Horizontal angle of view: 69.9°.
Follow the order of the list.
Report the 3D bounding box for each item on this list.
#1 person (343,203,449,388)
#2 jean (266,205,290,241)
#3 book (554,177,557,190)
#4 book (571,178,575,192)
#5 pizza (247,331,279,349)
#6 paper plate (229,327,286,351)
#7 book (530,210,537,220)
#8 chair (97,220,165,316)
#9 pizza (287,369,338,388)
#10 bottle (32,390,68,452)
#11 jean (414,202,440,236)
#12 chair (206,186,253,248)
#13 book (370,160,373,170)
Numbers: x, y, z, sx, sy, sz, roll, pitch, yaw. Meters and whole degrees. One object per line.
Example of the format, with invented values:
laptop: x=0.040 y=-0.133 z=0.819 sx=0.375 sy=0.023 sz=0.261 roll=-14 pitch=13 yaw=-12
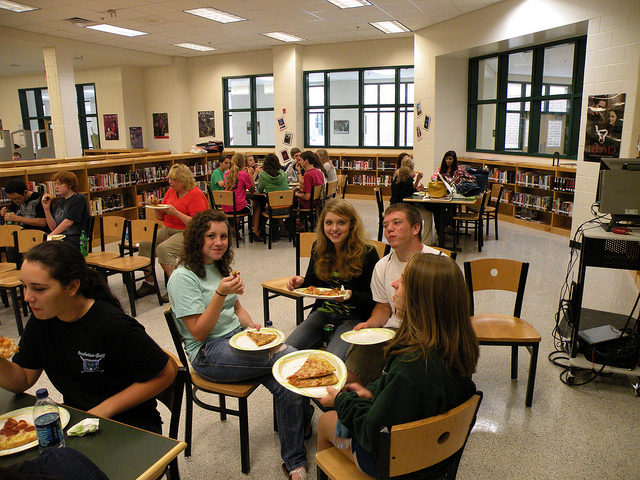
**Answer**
person: x=0.427 y=0.389 z=2.847 sx=0.805 sy=1.211 sz=0.561 roll=-2 pitch=1 yaw=-32
jean: x=-0.704 y=-0.272 z=7.522 sx=0.348 sy=0.597 sz=0.549 roll=-4 pitch=12 yaw=-14
book: x=3.844 y=-0.920 z=7.488 sx=0.029 sy=0.128 sz=0.127 roll=3 pitch=5 yaw=32
book: x=3.965 y=-0.860 z=7.206 sx=0.044 sy=0.199 sz=0.173 roll=4 pitch=13 yaw=25
pizza: x=-0.309 y=0.536 z=2.532 sx=0.147 sy=0.029 sz=0.176 roll=-9 pitch=14 yaw=-32
paper plate: x=-0.354 y=0.556 z=2.534 sx=0.292 sy=0.068 sz=0.256 roll=-12 pitch=16 yaw=-41
book: x=3.808 y=-0.451 z=8.181 sx=0.116 sy=0.163 sz=0.100 roll=5 pitch=13 yaw=27
chair: x=-1.969 y=0.278 z=4.719 sx=0.596 sy=0.929 sz=0.608 roll=-6 pitch=17 yaw=-33
pizza: x=-0.018 y=0.665 z=2.166 sx=0.148 sy=0.027 sz=0.085 roll=-4 pitch=7 yaw=-26
bottle: x=-1.031 y=0.732 z=1.809 sx=0.105 sy=0.262 sz=0.100 roll=-18 pitch=2 yaw=1
jean: x=1.721 y=-0.360 z=6.971 sx=0.423 sy=0.583 sz=0.470 roll=4 pitch=13 yaw=23
chair: x=-1.421 y=-0.407 z=7.590 sx=0.549 sy=0.945 sz=0.613 roll=8 pitch=17 yaw=26
book: x=1.238 y=-1.824 z=11.066 sx=0.060 sy=0.183 sz=0.194 roll=1 pitch=7 yaw=8
